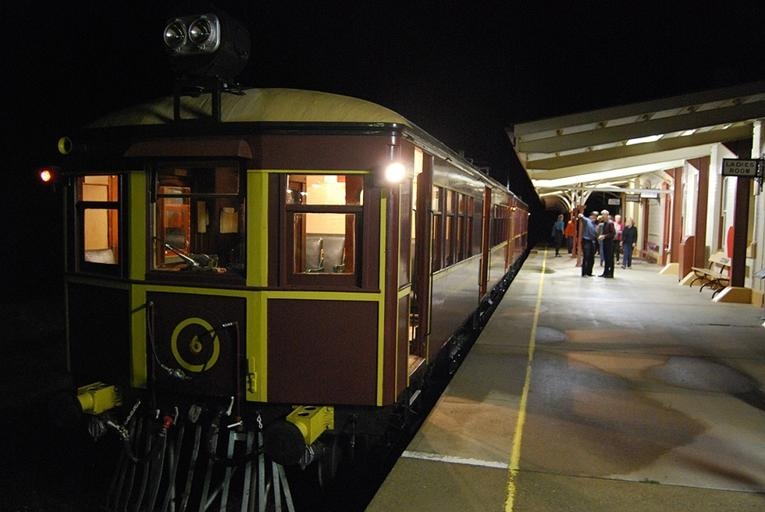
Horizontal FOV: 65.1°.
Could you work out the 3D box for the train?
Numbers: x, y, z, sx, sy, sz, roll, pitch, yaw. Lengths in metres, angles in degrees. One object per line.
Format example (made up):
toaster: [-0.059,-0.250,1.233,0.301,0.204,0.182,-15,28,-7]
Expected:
train: [-1.139,0.221,7.265,5.051,4.349,2.664,-7,10,-26]

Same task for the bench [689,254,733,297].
bench: [9.394,0.506,17.126,0.559,0.819,1.543,5,6,34]
